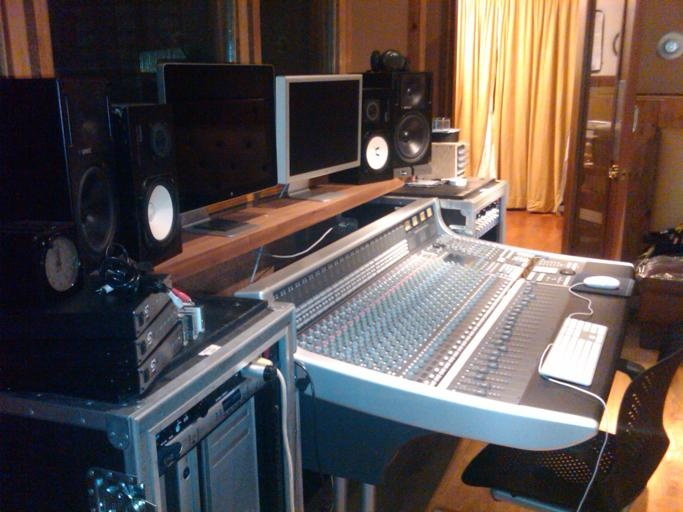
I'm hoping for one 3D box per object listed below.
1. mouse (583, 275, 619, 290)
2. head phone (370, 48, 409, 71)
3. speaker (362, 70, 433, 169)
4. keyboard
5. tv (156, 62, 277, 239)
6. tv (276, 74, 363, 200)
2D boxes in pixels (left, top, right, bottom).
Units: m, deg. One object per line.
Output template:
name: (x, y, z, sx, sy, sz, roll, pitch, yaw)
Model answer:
mouse: (0.925, 0.093, 2.009, 0.080, 0.021, 0.060, 1, 15, 5)
head phone: (0.231, -1.004, 2.865, 0.160, 0.089, 0.124, 8, 30, 18)
speaker: (0.256, -0.674, 2.733, 0.224, 0.443, 0.438, 5, 13, 30)
keyboard: (0.648, 0.268, 1.575, 0.106, 0.029, 0.283, 10, 28, 25)
tv: (-0.401, -0.345, 1.789, 0.159, 0.478, 0.510, 7, 18, 25)
tv: (-0.094, -0.487, 2.256, 0.116, 0.362, 0.471, 8, 20, 24)
